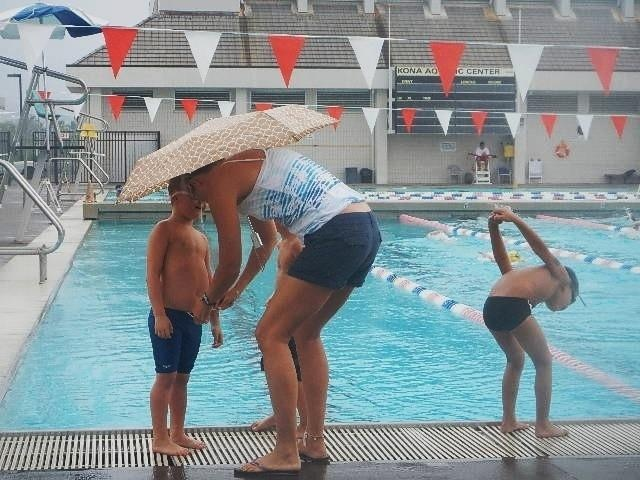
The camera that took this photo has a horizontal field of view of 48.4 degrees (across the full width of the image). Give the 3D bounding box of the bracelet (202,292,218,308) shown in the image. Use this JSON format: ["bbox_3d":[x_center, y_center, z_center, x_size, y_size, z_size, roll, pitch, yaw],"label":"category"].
[{"bbox_3d":[-0.509,0.278,3.306,0.065,0.063,0.063,-1,-4,-1],"label":"bracelet"}]

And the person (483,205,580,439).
[{"bbox_3d":[1.128,0.424,3.836,0.501,1.181,0.557,4,7,12],"label":"person"}]

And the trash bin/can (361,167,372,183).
[{"bbox_3d":[1.509,-2.072,23.040,0.443,0.571,0.419,-1,2,-4],"label":"trash bin/can"}]

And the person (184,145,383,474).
[{"bbox_3d":[-0.173,0.303,3.389,0.881,1.462,0.461,2,7,-11],"label":"person"}]

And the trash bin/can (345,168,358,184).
[{"bbox_3d":[1.033,-2.087,23.259,0.525,0.660,0.462,0,1,10],"label":"trash bin/can"}]

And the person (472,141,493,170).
[{"bbox_3d":[5.230,-2.686,22.964,0.449,0.862,0.690,4,7,12],"label":"person"}]

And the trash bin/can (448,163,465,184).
[{"bbox_3d":[4.535,-2.179,23.695,0.549,0.600,0.304,4,7,6],"label":"trash bin/can"}]

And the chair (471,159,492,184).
[{"bbox_3d":[5.243,-2.205,23.215,0.326,0.513,0.804,-1,16,4],"label":"chair"}]
